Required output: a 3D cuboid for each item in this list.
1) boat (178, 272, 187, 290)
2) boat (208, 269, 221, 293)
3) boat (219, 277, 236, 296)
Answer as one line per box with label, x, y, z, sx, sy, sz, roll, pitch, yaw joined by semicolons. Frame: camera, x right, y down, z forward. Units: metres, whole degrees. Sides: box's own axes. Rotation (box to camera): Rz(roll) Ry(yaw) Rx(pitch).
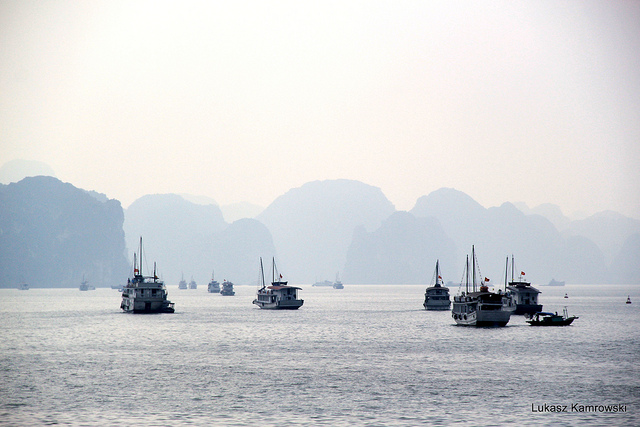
boat;-70.289;37.329;622.161;4.225;7.562;4.309;1;-6;-10
boat;-46.402;32.698;535.714;5.115;5.437;9.174;2;-7;-7
boat;-38.598;31.836;517.667;7.625;7.197;11.374;0;-14;-7
